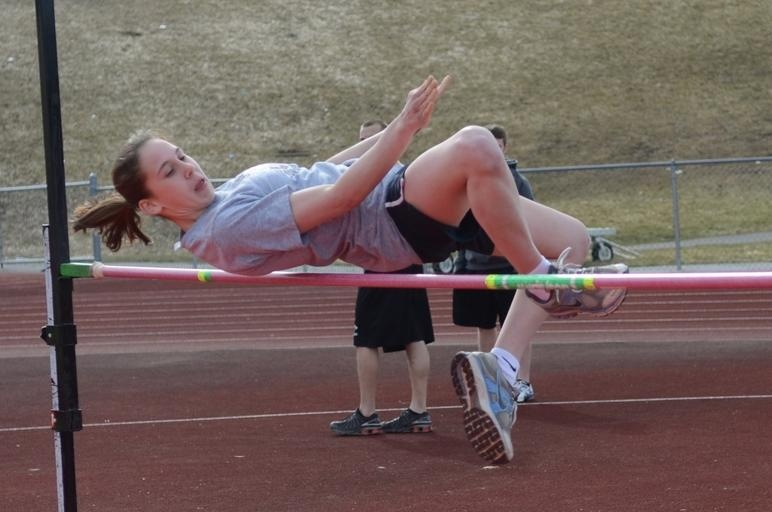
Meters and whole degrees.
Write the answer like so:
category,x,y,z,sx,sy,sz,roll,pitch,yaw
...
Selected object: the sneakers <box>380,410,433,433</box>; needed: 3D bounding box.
category,x,y,z,sx,sy,sz,roll,pitch,yaw
sneakers,0.287,2.171,16.059,0.704,0.267,0.271,1,-3,-1
